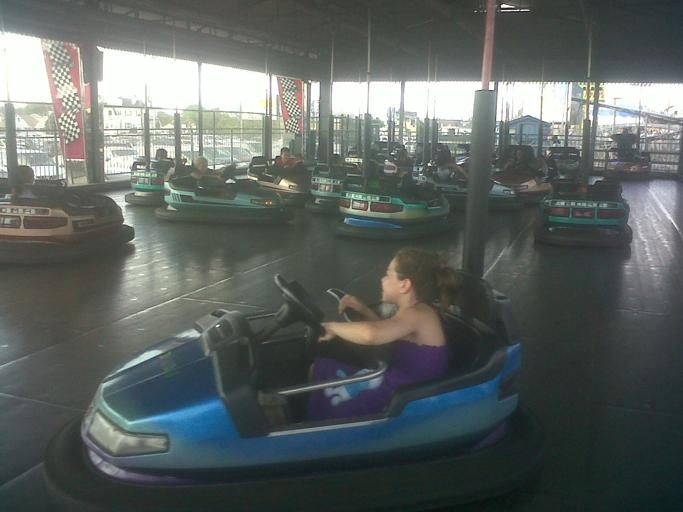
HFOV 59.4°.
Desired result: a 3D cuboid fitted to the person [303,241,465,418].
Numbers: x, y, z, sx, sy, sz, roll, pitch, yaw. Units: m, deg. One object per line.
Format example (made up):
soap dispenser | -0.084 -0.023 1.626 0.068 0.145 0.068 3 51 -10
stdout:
person | 0.137 0.301 2.478 0.636 0.778 0.573 4 4 6
